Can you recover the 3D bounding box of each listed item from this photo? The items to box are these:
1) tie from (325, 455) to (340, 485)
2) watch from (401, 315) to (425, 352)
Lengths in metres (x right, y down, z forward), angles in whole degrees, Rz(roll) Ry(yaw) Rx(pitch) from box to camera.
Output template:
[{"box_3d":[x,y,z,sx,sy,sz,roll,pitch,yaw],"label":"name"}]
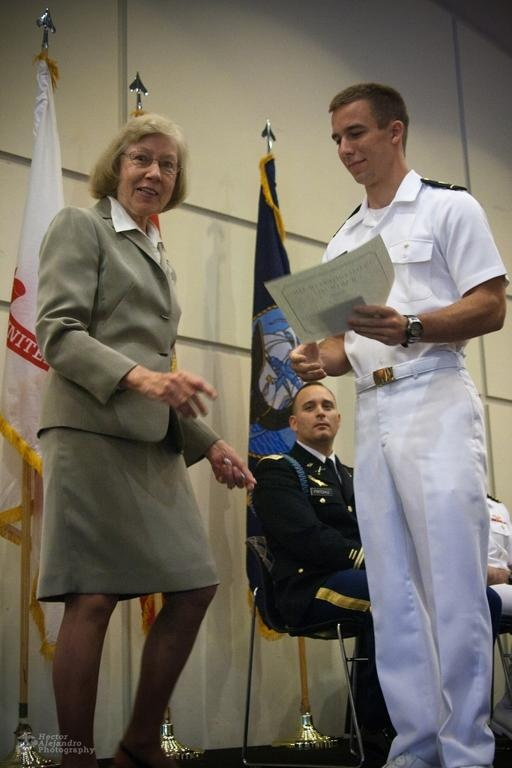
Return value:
[{"box_3d":[0.299,0.322,2.760,0.053,0.089,0.022,-26,-2,-16],"label":"tie"},{"box_3d":[0.313,-0.109,1.450,0.041,0.053,0.048,-2,-13,10],"label":"watch"}]
